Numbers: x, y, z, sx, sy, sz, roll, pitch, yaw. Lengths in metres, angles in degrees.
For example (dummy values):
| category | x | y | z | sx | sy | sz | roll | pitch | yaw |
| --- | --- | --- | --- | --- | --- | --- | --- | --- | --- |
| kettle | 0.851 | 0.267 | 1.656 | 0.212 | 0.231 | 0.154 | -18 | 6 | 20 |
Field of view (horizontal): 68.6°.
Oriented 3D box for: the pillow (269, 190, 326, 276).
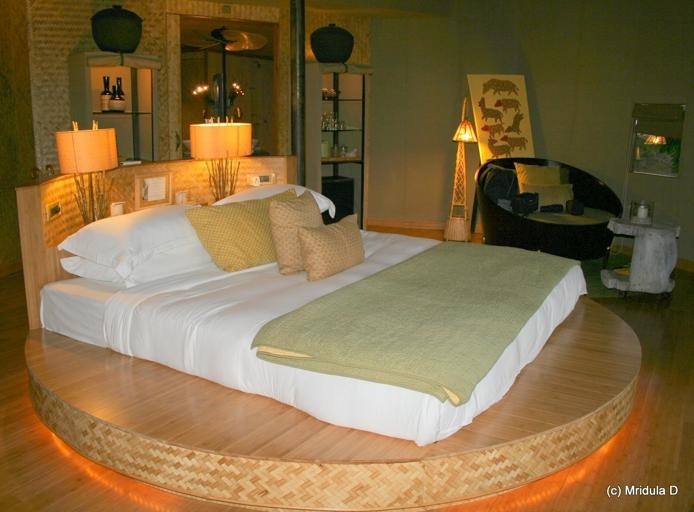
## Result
| category | x | y | z | sx | sy | sz | roll | pitch | yaw |
| --- | --- | --- | --- | --- | --- | --- | --- | --- | --- |
| pillow | -0.373 | -0.139 | 3.547 | 0.219 | 0.457 | 0.602 | 6 | 16 | 22 |

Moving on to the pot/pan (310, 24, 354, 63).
| category | x | y | z | sx | sy | sz | roll | pitch | yaw |
| --- | --- | --- | --- | --- | --- | --- | --- | --- | --- |
| pot/pan | -0.218 | -2.548 | 6.368 | 0.664 | 0.476 | 0.484 | -2 | 18 | -4 |

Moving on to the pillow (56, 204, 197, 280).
| category | x | y | z | sx | sy | sz | roll | pitch | yaw |
| --- | --- | --- | --- | --- | --- | --- | --- | --- | --- |
| pillow | -1.448 | -0.072 | 3.411 | 0.493 | 0.248 | 0.803 | 10 | 20 | 31 |

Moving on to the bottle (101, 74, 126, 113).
| category | x | y | z | sx | sy | sz | roll | pitch | yaw |
| --- | --- | --- | --- | --- | --- | --- | --- | --- | --- |
| bottle | -2.368 | -1.628 | 5.088 | 0.205 | 0.366 | 0.253 | 11 | 15 | 43 |

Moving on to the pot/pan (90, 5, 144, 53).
| category | x | y | z | sx | sy | sz | roll | pitch | yaw |
| --- | --- | --- | --- | --- | --- | --- | --- | --- | --- |
| pot/pan | -2.183 | -2.117 | 4.931 | 0.521 | 0.423 | 0.462 | 0 | 9 | -2 |

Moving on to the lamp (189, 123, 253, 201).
| category | x | y | z | sx | sy | sz | roll | pitch | yaw |
| --- | --- | --- | --- | --- | --- | --- | --- | --- | --- |
| lamp | -1.173 | -0.832 | 4.667 | 0.495 | 0.730 | 0.497 | 7 | 17 | 23 |

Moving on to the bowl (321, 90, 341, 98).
| category | x | y | z | sx | sy | sz | roll | pitch | yaw |
| --- | --- | --- | --- | --- | --- | --- | --- | --- | --- |
| bowl | -0.234 | -2.026 | 6.314 | 0.158 | 0.076 | 0.256 | -1 | 13 | -2 |

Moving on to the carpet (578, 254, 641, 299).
| category | x | y | z | sx | sy | sz | roll | pitch | yaw |
| --- | --- | --- | --- | --- | --- | --- | --- | --- | --- |
| carpet | 2.737 | 0.248 | 5.508 | 0.636 | 0.145 | 0.592 | 2 | 20 | 41 |

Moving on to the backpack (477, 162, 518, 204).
| category | x | y | z | sx | sy | sz | roll | pitch | yaw |
| --- | --- | --- | --- | --- | --- | --- | --- | --- | --- |
| backpack | 1.731 | -0.824 | 5.967 | 0.464 | 0.438 | 0.342 | 18 | -11 | 6 |

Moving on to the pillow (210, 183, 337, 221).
| category | x | y | z | sx | sy | sz | roll | pitch | yaw |
| --- | --- | --- | --- | --- | --- | --- | --- | --- | --- |
| pillow | -0.649 | -0.436 | 4.049 | 0.625 | 0.176 | 0.607 | 2 | 10 | 16 |

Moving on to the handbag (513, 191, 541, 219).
| category | x | y | z | sx | sy | sz | roll | pitch | yaw |
| --- | --- | --- | --- | --- | --- | --- | --- | --- | --- |
| handbag | 2.015 | -0.591 | 5.729 | 0.273 | 0.251 | 0.385 | 5 | 16 | 31 |

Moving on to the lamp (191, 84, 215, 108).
| category | x | y | z | sx | sy | sz | roll | pitch | yaw |
| --- | --- | --- | --- | --- | --- | --- | --- | --- | --- |
| lamp | -1.690 | -1.887 | 5.912 | 0.177 | 0.300 | 0.568 | -5 | 11 | -26 |

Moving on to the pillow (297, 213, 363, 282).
| category | x | y | z | sx | sy | sz | roll | pitch | yaw |
| --- | --- | --- | --- | --- | --- | --- | --- | --- | --- |
| pillow | -0.099 | -0.061 | 3.602 | 0.224 | 0.364 | 0.597 | 10 | 19 | 34 |

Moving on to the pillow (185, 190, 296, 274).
| category | x | y | z | sx | sy | sz | roll | pitch | yaw |
| --- | --- | --- | --- | --- | --- | --- | --- | --- | --- |
| pillow | -0.690 | -0.125 | 3.669 | 0.964 | 0.541 | 0.269 | -10 | 26 | 30 |
